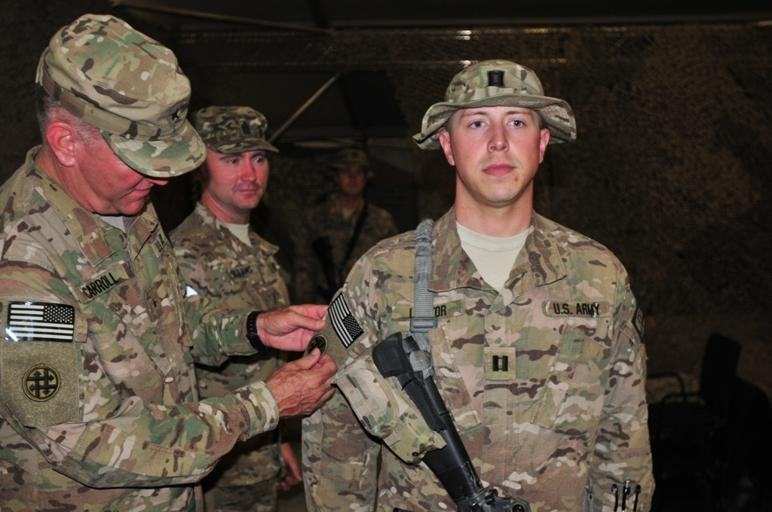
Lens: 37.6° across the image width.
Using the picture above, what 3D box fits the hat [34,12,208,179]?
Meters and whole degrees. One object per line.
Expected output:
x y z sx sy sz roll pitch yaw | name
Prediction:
-1.315 -0.817 5.751 0.712 0.686 0.488 18 36 29 | hat

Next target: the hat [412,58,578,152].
0.611 -0.837 6.177 0.899 0.360 0.772 -2 -2 5 | hat
